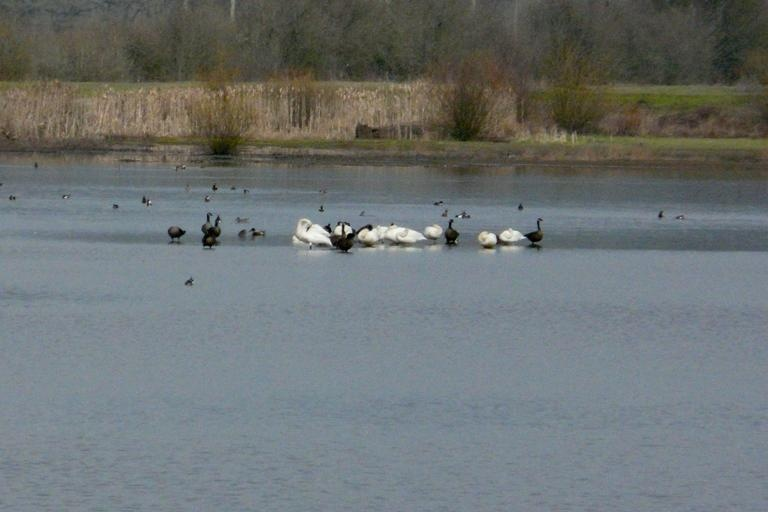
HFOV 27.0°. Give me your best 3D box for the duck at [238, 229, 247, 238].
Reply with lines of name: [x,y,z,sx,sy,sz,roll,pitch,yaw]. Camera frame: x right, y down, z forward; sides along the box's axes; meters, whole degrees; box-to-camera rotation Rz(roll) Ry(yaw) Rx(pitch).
duck: [-4.061,-0.631,45.375,0.209,0.170,0.235,9,30,12]

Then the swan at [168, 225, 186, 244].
swan: [-5.821,-0.650,44.552,0.293,0.380,0.676,-2,18,-1]

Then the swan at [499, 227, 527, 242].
swan: [3.555,-0.578,44.770,0.456,0.367,0.564,-1,-5,24]

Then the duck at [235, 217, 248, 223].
duck: [-4.185,-1.053,46.735,0.366,0.218,0.160,-3,11,-39]

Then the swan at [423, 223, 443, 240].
swan: [1.374,-0.644,44.876,0.354,0.340,0.504,2,5,17]

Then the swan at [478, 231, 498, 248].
swan: [2.818,-0.432,44.270,0.366,0.376,0.538,1,5,3]

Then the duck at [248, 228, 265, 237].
duck: [-3.643,-0.659,45.437,0.557,0.351,0.170,8,16,29]
